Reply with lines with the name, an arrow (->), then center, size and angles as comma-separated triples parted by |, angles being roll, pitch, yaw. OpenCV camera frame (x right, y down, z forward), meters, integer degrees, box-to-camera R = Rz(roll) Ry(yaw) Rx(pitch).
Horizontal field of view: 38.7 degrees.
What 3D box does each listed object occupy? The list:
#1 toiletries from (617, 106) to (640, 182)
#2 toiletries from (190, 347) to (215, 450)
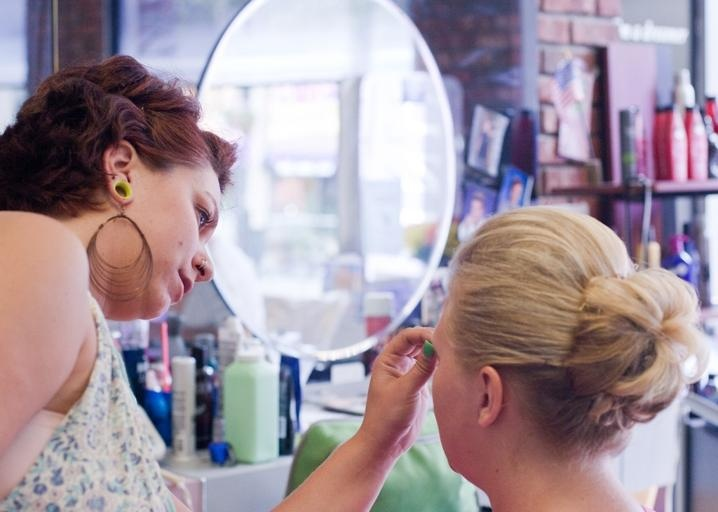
toiletries -> 0.877, -0.356, 3.328 | 0.061, 0.247, 0.107 | 0, 4, 16
toiletries -> -0.417, 0.376, 2.793 | 0.054, 0.286, 0.061 | -1, -3, 10
